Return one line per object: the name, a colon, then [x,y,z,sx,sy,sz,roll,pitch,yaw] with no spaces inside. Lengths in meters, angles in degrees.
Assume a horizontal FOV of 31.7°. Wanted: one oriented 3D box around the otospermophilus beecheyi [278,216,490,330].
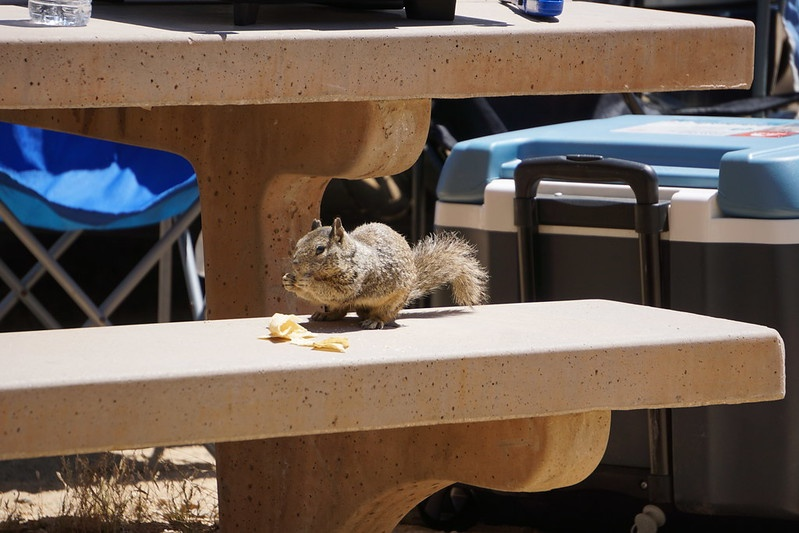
otospermophilus beecheyi: [-0.038,-0.012,3.395,0.518,0.210,0.314,-4,99,-27]
